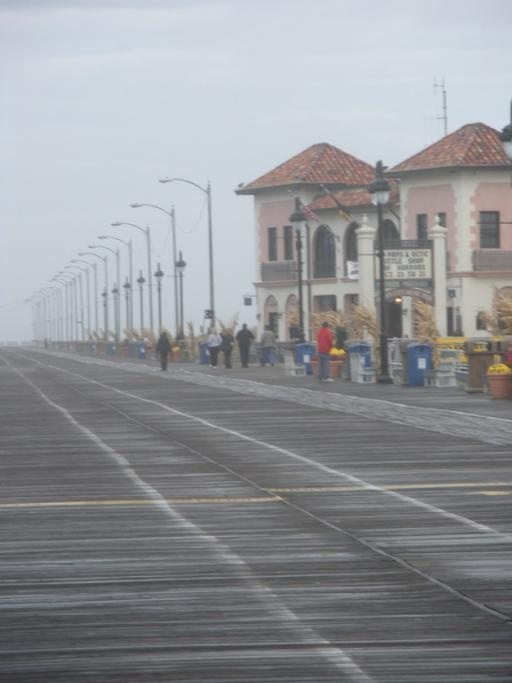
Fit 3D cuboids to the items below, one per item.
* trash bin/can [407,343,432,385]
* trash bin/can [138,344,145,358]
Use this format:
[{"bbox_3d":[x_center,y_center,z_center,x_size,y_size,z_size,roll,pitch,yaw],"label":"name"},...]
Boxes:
[{"bbox_3d":[3.536,0.511,35.226,0.538,0.897,0.654,-2,-2,4],"label":"trash bin/can"},{"bbox_3d":[-5.888,0.459,80.566,0.253,0.725,0.602,-1,-2,-10],"label":"trash bin/can"}]
